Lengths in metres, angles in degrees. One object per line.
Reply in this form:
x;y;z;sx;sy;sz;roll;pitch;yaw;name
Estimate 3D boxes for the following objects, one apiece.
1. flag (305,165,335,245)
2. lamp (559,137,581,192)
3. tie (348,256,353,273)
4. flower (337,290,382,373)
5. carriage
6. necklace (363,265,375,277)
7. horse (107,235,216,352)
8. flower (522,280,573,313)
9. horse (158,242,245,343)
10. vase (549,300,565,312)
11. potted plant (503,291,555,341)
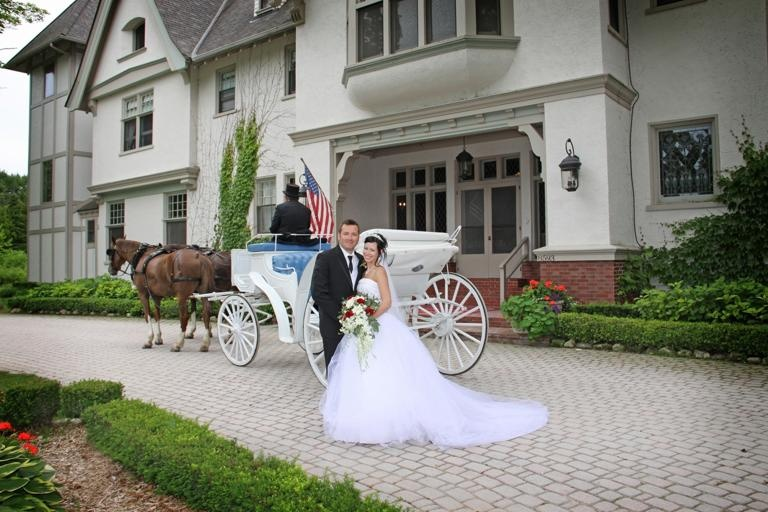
-1.803;-1.085;15.950;0.829;2.495;0.854;6;15;18;flag
4.541;-2.209;14.603;0.486;1.283;0.490;3;12;18;lamp
-0.547;0.136;9.799;0.071;0.252;0.058;6;-6;-11;tie
-0.397;1.180;9.191;0.639;1.200;0.539;5;-7;-7;flower
-2.272;0.994;13.150;8.616;3.119;3.628;0;-1;35;carriage
-0.235;0.275;9.699;0.109;0.183;0.202;13;-15;-34;necklace
-5.532;0.944;14.722;3.393;2.777;1.111;0;1;25;horse
3.905;0.943;14.147;0.820;0.550;0.828;-3;27;-47;flower
-5.038;0.375;16.071;3.871;2.897;0.968;1;0;22;horse
3.991;1.148;13.890;0.303;0.157;0.316;1;5;1;vase
3.329;1.403;13.971;0.958;1.055;0.971;2;12;3;potted plant
